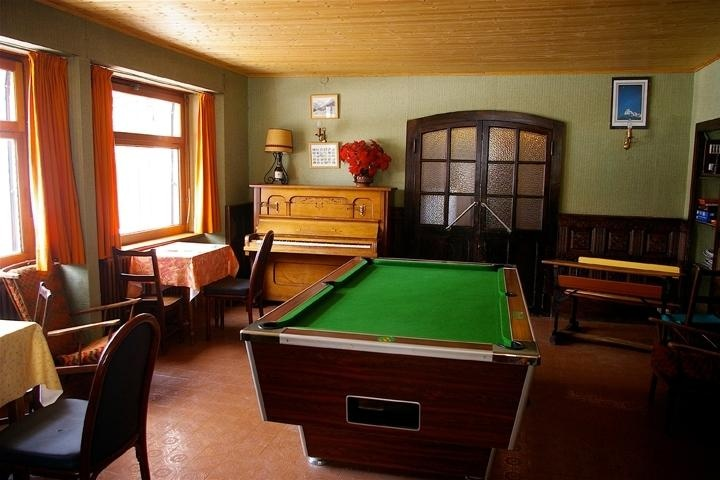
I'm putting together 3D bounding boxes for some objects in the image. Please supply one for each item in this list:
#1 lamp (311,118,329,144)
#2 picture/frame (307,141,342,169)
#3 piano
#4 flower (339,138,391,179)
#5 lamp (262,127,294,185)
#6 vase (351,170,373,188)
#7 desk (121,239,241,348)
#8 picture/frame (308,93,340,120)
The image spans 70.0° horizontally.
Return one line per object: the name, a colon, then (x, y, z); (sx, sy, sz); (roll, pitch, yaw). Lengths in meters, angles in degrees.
lamp: (-0.581, -1.646, 7.755); (0.180, 0.348, 0.204); (-3, 11, -18)
picture/frame: (-0.511, -1.302, 7.785); (0.400, 0.319, 0.029); (11, 8, 7)
piano: (-0.519, 0.032, 6.667); (1.791, 1.579, 0.732); (0, 0, 8)
flower: (0.061, -1.176, 7.406); (0.603, 0.398, 0.645); (-5, 14, -34)
lamp: (-1.223, -1.271, 7.756); (0.447, 0.846, 0.503); (-2, 10, -10)
vase: (0.048, -0.874, 7.374); (0.245, 0.175, 0.254); (0, -2, -18)
desk: (-2.057, 0.506, 6.338); (0.869, 0.644, 0.933); (-3, 5, 15)
picture/frame: (-0.517, -2.025, 7.719); (0.434, 0.311, 0.037); (2, 9, 7)
